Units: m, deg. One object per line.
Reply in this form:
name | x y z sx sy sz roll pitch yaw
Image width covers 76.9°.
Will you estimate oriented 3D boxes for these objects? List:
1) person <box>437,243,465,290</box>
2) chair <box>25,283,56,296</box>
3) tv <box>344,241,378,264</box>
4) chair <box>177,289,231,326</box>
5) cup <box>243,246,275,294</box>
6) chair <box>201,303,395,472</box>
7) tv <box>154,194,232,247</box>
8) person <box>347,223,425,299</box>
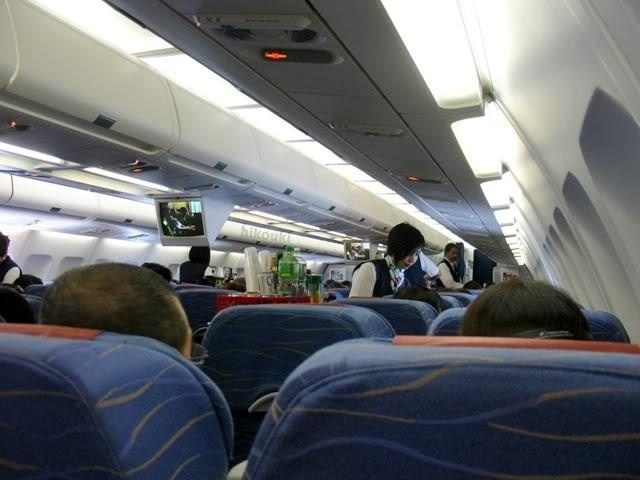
person | 2.243 0.436 7.151 0.355 0.819 0.745 -3 -8 14
chair | -1.984 0.364 2.956 0.118 0.101 2.050 4 -8 -34
tv | 1.426 0.411 13.859 1.006 0.607 0.128 0 -11 -4
chair | -0.768 0.448 2.889 0.319 0.243 0.287 1 9 1
cup | -0.422 0.232 3.065 0.216 0.357 0.537 0 -7 -9
chair | -0.036 0.447 1.622 0.642 0.528 0.672 3 -8 27
tv | -2.347 -0.364 8.109 1.108 0.826 1.201 2 1 9
person | 0.656 0.217 4.086 0.682 0.707 0.707 -2 -8 1
